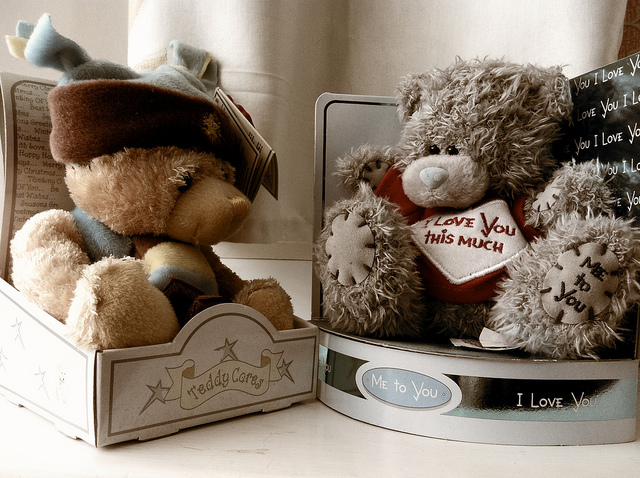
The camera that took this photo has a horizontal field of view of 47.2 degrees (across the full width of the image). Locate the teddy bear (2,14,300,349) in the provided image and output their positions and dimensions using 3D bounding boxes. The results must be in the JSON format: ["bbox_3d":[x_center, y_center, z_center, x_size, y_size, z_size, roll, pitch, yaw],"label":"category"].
[{"bbox_3d":[-0.303,-0.075,1.479,0.506,0.684,0.629,0,-2,29],"label":"teddy bear"}]

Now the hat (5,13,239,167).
[{"bbox_3d":[-0.306,-0.217,1.261,0.266,0.219,0.344,-3,-13,29],"label":"hat"}]

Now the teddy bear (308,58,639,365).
[{"bbox_3d":[0.267,-0.029,1.215,0.564,0.513,0.313,2,-1,31],"label":"teddy bear"}]
